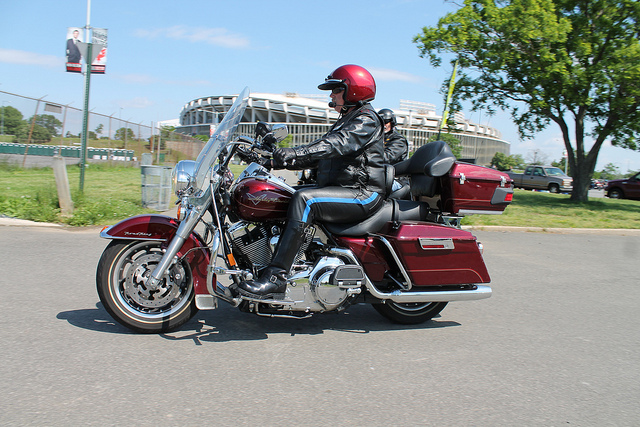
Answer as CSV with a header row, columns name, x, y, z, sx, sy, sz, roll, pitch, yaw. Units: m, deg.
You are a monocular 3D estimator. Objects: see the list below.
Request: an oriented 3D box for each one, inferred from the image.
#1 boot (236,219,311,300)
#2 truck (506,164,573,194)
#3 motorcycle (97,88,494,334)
name,x,y,z,sx,sy,sz,roll,pitch,yaw
boot,-0.447,0.468,4.772,0.329,0.827,0.578,21,19,32
truck,18.665,-2.872,39.250,3.701,2.110,3.997,7,12,8
motorcycle,-0.176,0.294,5.154,4.242,1.308,1.428,3,-4,-14
